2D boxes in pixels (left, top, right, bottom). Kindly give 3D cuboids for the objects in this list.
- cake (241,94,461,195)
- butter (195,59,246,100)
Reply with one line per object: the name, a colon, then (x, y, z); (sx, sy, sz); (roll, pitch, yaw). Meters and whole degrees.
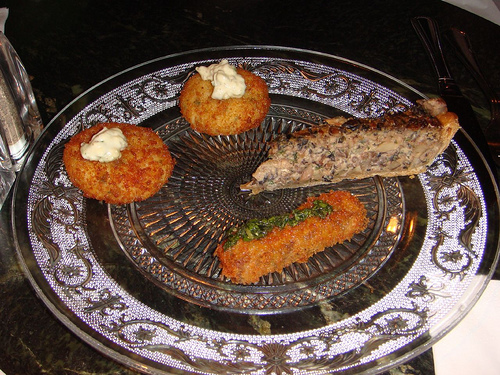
cake: (0.900, -0.334, 3.764); (1.818, 0.212, 0.633); (-12, 86, -1)
butter: (-0.263, -0.929, 3.815); (0.386, 0.126, 0.334); (-8, 83, -14)
